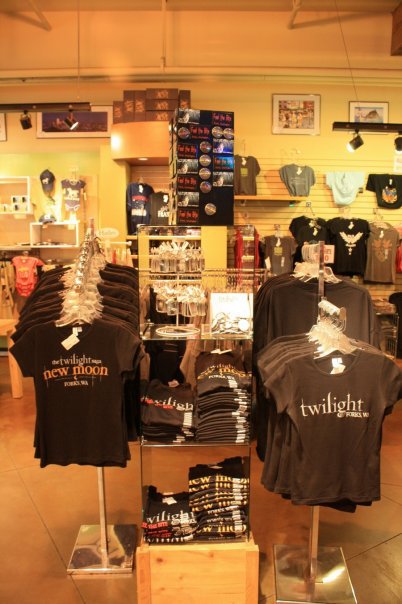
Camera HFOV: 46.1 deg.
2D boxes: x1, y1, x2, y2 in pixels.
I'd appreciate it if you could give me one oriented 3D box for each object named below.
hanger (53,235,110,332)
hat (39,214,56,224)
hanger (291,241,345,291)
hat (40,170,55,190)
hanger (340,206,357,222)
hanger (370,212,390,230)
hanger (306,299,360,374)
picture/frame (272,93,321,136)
[{"bbox_3d":[-0.491,-0.105,2.144,0.164,0.232,0.570,0,31,-5],"label":"hanger"},{"bbox_3d":[-2.132,-1.161,6.605,0.226,0.142,0.272,-1,5,-9],"label":"hat"},{"bbox_3d":[0.531,-0.172,2.214,0.142,0.199,0.234,6,16,7],"label":"hanger"},{"bbox_3d":[-2.147,-1.713,6.631,0.213,0.279,0.243,-1,5,-16],"label":"hat"},{"bbox_3d":[1.965,-1.168,6.323,0.201,0.138,0.272,-1,5,1],"label":"hanger"},{"bbox_3d":[2.394,-1.100,6.349,0.246,0.269,0.398,2,5,21],"label":"hanger"},{"bbox_3d":[0.488,0.108,1.876,0.110,0.158,0.352,-2,9,-3],"label":"hanger"},{"bbox_3d":[1.242,-2.511,6.266,0.513,0.436,0.020,0,7,1],"label":"picture/frame"}]
